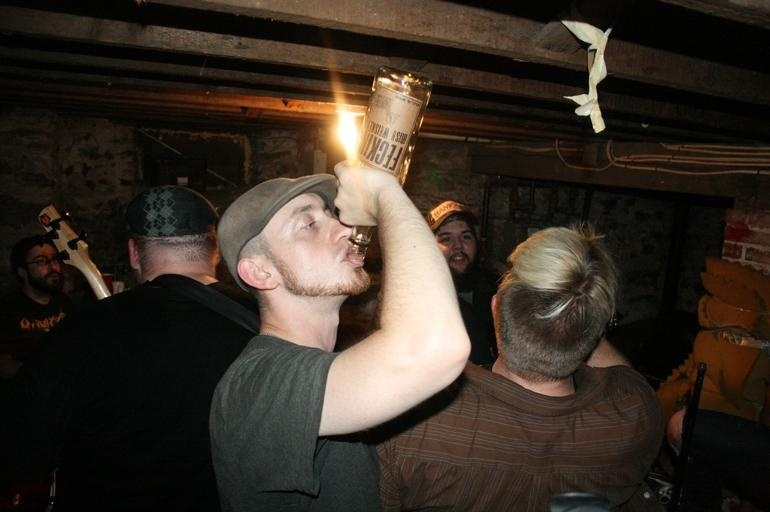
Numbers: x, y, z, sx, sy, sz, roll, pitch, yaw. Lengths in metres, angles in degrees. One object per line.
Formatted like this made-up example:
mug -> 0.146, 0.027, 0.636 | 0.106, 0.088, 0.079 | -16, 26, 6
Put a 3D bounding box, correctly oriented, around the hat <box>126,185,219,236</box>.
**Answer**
hat -> -1.218, -0.280, 3.247 | 0.310, 0.190, 0.424 | 8, 13, 36
